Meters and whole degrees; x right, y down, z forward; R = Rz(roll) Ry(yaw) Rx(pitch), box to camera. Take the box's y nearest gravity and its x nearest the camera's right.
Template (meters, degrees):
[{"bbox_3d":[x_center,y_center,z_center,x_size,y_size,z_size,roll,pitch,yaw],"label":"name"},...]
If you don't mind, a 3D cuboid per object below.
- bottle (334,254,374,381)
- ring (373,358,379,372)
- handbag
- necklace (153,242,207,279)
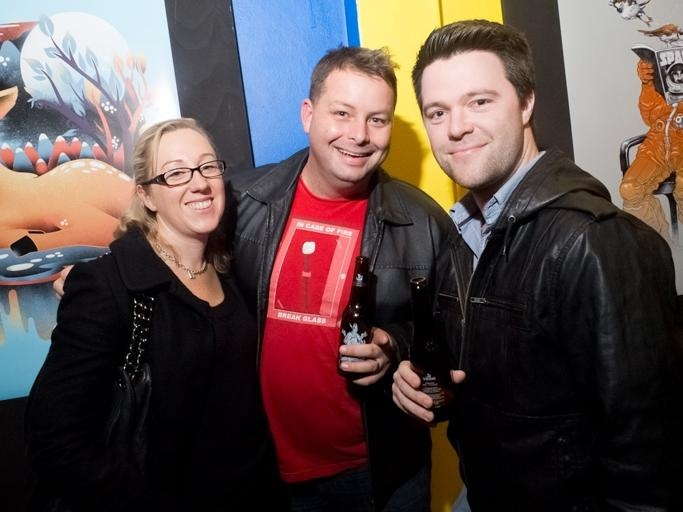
[{"bbox_3d":[0.062,0.192,2.044,0.143,0.404,0.334,-1,4,4],"label":"bottle"},{"bbox_3d":[0.130,0.409,1.926,0.014,0.047,0.032,0,4,27],"label":"ring"},{"bbox_3d":[-0.778,0.573,1.860,0.166,0.353,0.045,-2,3,-4],"label":"handbag"},{"bbox_3d":[-0.653,0.015,2.065,0.042,0.176,0.134,-37,32,12],"label":"necklace"}]
